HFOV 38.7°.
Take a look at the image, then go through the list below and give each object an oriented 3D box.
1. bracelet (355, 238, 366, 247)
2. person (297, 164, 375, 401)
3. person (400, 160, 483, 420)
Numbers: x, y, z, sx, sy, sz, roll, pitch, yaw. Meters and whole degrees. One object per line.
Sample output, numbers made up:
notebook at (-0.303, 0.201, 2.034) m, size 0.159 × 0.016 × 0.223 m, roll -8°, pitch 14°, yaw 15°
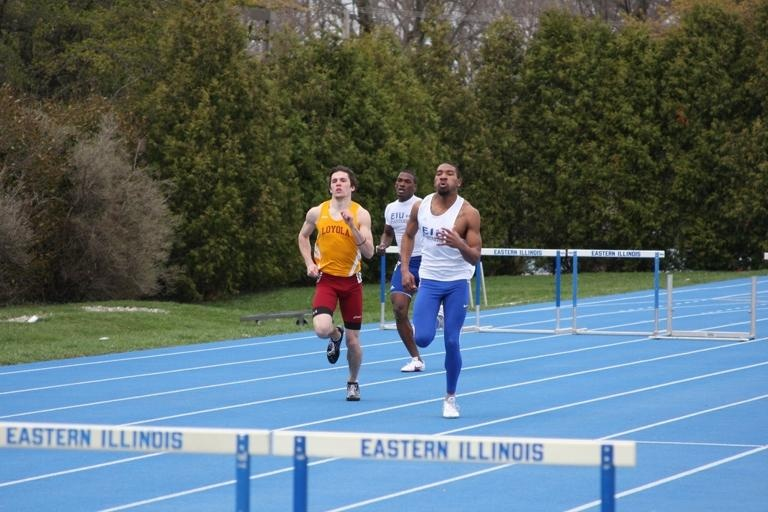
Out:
bracelet at (-0.404, -0.229, 18.614) m, size 0.149 × 0.117 × 0.065 m, roll -1°, pitch 3°, yaw 30°
person at (-0.782, 0.506, 18.968) m, size 1.162 × 4.079 × 0.864 m, roll -2°, pitch 2°, yaw -5°
person at (0.927, 0.583, 18.323) m, size 1.343 × 4.238 × 0.935 m, roll 0°, pitch 3°, yaw 43°
